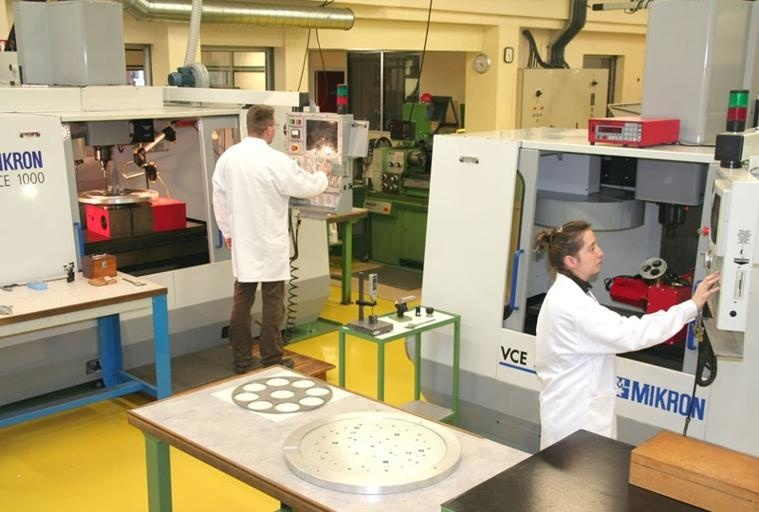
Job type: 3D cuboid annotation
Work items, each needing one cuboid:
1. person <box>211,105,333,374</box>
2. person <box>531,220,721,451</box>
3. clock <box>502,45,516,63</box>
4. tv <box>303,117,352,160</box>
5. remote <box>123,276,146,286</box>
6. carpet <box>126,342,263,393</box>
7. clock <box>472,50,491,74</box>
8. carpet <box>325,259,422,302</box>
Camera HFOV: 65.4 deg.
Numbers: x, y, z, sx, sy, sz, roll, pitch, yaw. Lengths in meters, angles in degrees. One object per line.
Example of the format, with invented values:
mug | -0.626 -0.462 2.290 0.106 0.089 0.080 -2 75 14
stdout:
person | -0.872 -0.103 4.698 0.808 2.137 0.444 -5 15 -13
person | 1.219 0.648 3.081 0.653 1.521 0.828 -15 17 -23
clock | 1.994 -3.123 9.093 0.237 0.229 0.058 -7 9 -38
tv | -0.475 -0.910 4.457 0.145 0.322 0.393 8 11 42
remote | -1.777 0.175 4.273 0.223 0.025 0.072 15 18 42
carpet | -1.538 0.936 4.978 0.712 0.014 0.419 -12 15 -43
clock | 1.588 -2.993 9.147 0.282 0.288 0.097 13 20 43
carpet | 0.120 0.318 7.389 0.024 0.902 0.603 49 20 16
